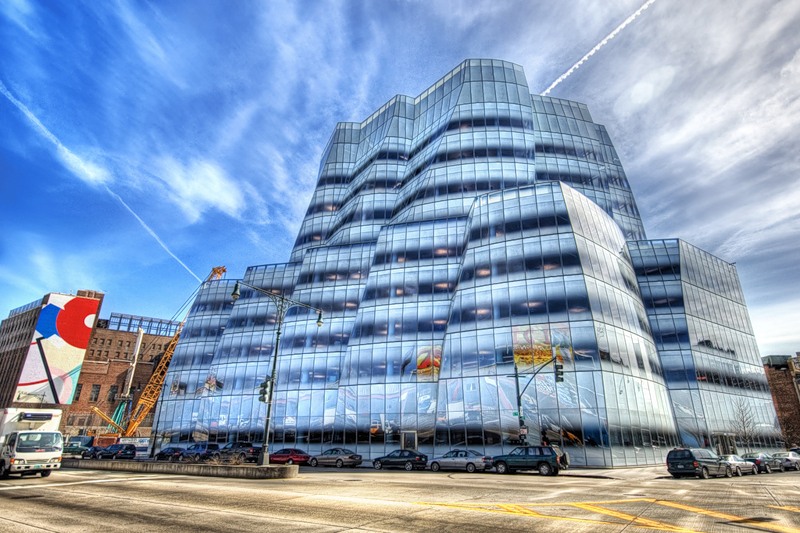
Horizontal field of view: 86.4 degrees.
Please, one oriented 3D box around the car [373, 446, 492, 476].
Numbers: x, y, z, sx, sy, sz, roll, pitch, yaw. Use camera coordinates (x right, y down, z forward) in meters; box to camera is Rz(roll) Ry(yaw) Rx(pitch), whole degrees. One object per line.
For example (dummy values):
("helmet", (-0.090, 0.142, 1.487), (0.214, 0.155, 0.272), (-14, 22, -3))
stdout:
("car", (2.897, 16.139, 35.506), (9.670, 1.614, 1.729), (-13, -30, 27))
